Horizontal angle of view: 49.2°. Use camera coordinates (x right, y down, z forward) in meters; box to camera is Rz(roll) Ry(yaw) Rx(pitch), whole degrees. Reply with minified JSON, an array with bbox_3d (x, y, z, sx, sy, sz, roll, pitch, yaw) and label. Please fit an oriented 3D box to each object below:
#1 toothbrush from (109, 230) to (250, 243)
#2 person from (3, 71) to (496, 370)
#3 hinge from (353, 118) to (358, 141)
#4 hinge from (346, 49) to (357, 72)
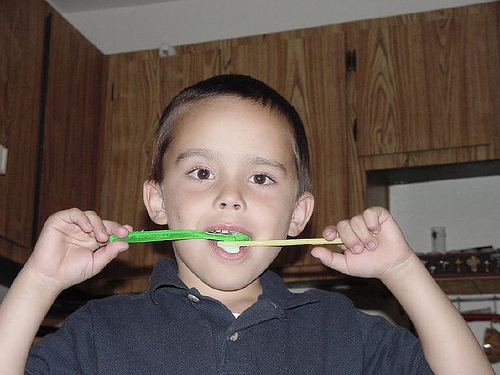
[{"bbox_3d":[-0.146,0.106,1.193,0.250,0.037,0.027,0,-3,-9],"label":"toothbrush"},{"bbox_3d":[-0.027,0.208,1.559,0.812,0.294,0.915,2,47,-4],"label":"person"},{"bbox_3d":[0.394,-0.215,2.037,0.017,0.068,0.005,1,-3,-6],"label":"hinge"},{"bbox_3d":[0.389,-0.484,2.090,0.049,0.086,0.018,0,-8,10],"label":"hinge"}]
